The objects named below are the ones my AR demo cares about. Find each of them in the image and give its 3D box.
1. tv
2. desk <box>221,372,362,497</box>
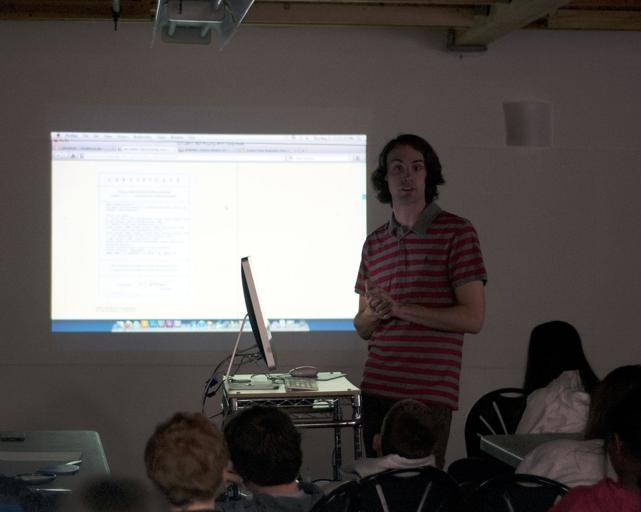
[{"bbox_3d":[-0.416,0.398,3.606,0.323,0.511,0.682,-4,-4,-4],"label":"tv"},{"bbox_3d":[-0.074,0.971,3.213,0.658,0.487,0.653,-8,-12,35],"label":"desk"}]
